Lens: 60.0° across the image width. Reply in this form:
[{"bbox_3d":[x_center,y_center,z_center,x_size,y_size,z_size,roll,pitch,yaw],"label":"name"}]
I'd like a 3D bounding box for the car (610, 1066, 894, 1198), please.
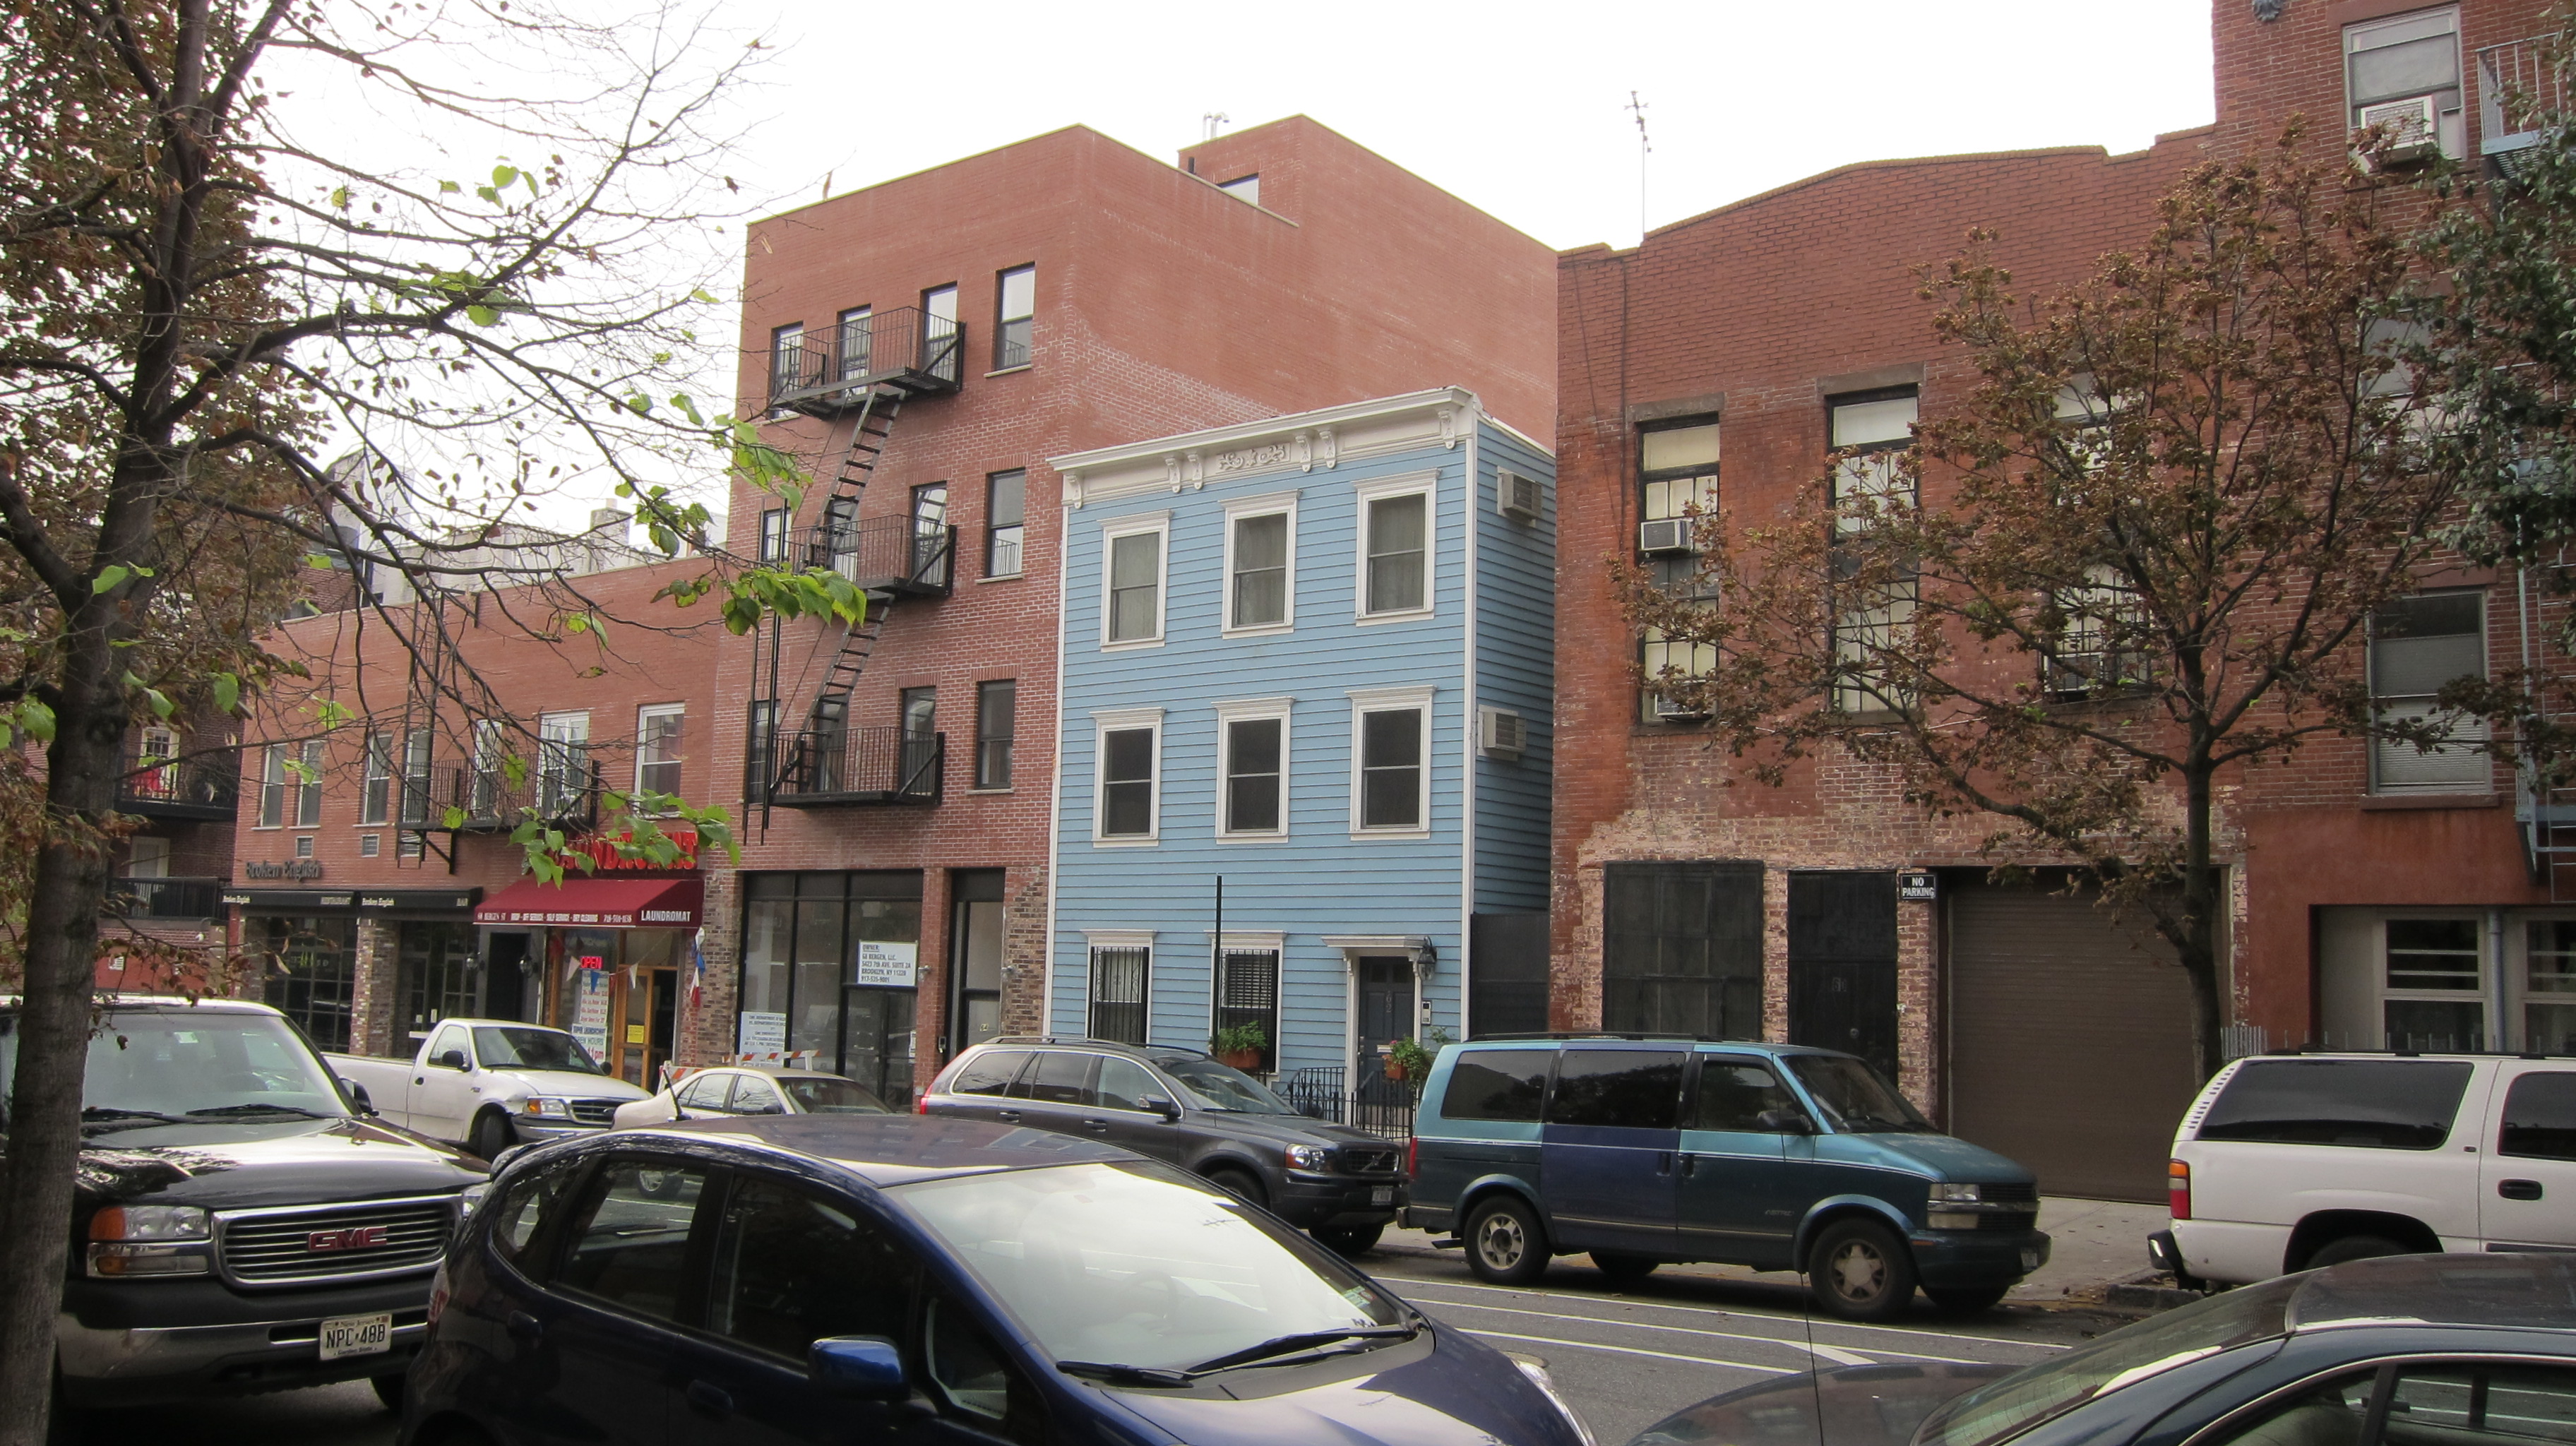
[{"bbox_3d":[-7.580,5.644,30.743,5.278,1.444,2.236,-6,-12,24],"label":"car"}]

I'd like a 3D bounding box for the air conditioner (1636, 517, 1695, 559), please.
[{"bbox_3d":[5.960,-2.856,35.113,0.983,0.589,0.631,-9,-20,35],"label":"air conditioner"}]

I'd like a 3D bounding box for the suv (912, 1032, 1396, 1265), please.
[{"bbox_3d":[-1.893,5.384,28.857,6.556,2.018,2.592,-3,-8,26],"label":"suv"}]

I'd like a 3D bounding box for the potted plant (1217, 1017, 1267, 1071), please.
[{"bbox_3d":[-0.841,5.541,38.404,0.991,0.840,0.862,6,-11,-25],"label":"potted plant"}]

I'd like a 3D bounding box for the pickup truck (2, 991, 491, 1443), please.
[{"bbox_3d":[-9.167,4.248,20.033,3.437,3.654,1.901,2,-12,-6],"label":"pickup truck"}]

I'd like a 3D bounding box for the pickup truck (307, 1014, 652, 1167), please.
[{"bbox_3d":[-12.558,5.617,34.844,6.264,1.743,2.501,-5,-10,36],"label":"pickup truck"}]
